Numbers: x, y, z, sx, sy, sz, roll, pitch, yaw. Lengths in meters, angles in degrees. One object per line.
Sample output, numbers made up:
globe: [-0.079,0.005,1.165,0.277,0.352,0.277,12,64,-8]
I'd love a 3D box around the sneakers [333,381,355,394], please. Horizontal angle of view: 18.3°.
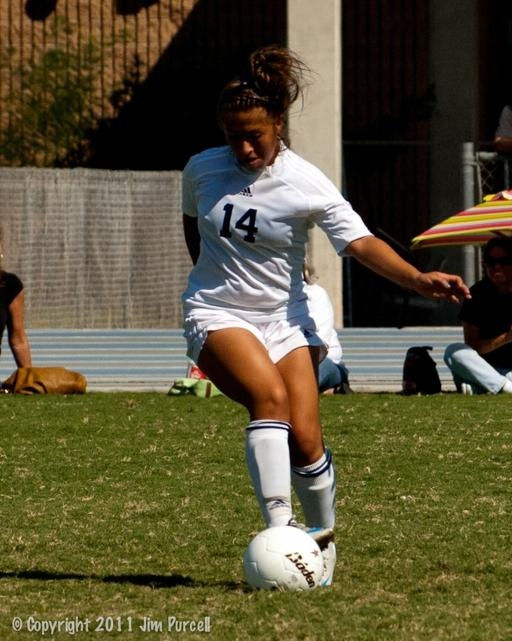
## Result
sneakers: [0.586,0.459,10.746,0.077,0.097,0.240,0,-1,-1]

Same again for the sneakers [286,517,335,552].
sneakers: [0.218,0.944,7.057,0.095,0.136,0.286,-4,-5,-30]

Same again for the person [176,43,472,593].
person: [0.070,-0.142,7.183,0.704,2.126,1.108,-11,15,-41]

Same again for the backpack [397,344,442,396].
backpack: [1.119,0.365,10.745,0.209,0.315,0.409,-3,20,0]

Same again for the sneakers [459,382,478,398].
sneakers: [1.417,0.463,10.567,0.080,0.079,0.201,4,0,5]
